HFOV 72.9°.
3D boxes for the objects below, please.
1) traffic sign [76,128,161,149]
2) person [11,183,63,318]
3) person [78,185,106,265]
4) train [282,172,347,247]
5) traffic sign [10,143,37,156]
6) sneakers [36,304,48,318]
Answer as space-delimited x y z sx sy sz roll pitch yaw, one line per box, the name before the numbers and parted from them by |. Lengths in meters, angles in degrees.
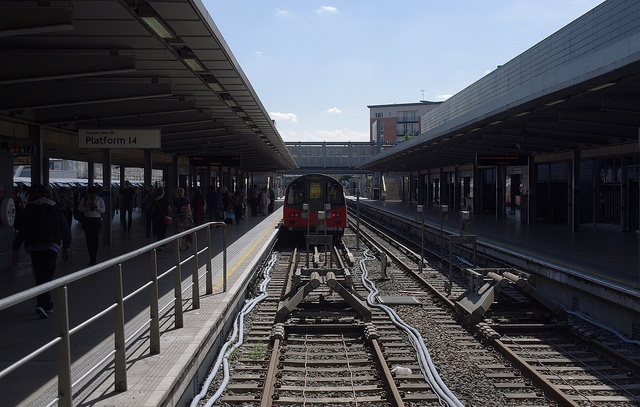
traffic sign | -6.063 -1.965 13.086 2.425 0.589 0.294 -2 5 1
person | -5.142 0.547 8.038 0.733 1.804 0.927 -5 6 -37
person | -6.116 0.608 11.644 0.601 2.150 1.385 -5 5 -29
train | -0.257 0.083 19.768 2.752 2.777 1.033 -2 5 -8
traffic sign | -8.419 -1.536 12.300 0.742 0.306 0.228 -1 5 11
sneakers | -5.017 1.931 7.835 0.184 0.253 0.238 -5 5 -32
